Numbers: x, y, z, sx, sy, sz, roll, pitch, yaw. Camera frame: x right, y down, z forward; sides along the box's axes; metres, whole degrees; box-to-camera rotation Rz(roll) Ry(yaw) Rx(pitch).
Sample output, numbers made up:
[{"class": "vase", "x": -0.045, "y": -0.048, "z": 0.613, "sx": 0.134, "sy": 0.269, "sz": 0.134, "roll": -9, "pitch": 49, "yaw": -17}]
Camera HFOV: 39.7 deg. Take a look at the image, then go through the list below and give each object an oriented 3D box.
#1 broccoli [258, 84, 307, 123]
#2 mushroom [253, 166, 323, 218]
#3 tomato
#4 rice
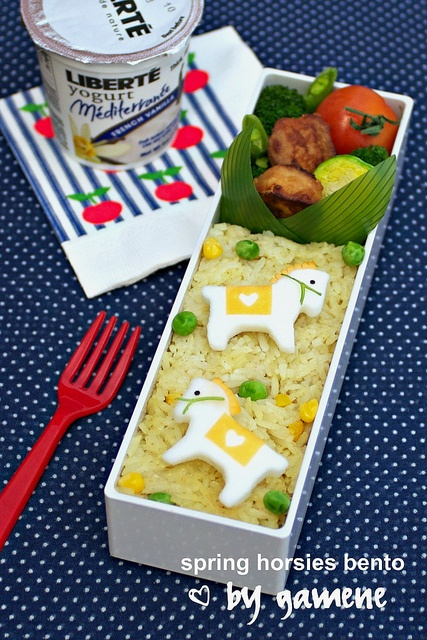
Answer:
[{"class": "broccoli", "x": 0.123, "y": -0.410, "z": 1.111, "sx": 0.099, "sy": 0.033, "sz": 0.082, "roll": -37, "pitch": 67, "yaw": -19}, {"class": "mushroom", "x": 0.118, "y": -0.208, "z": 0.925, "sx": 0.090, "sy": 0.081, "sz": 0.106, "roll": 17, "pitch": 31, "yaw": 19}, {"class": "tomato", "x": 0.257, "y": -0.366, "z": 1.069, "sx": 0.153, "sy": 0.085, "sz": 0.122, "roll": 14, "pitch": 61, "yaw": 10}, {"class": "rice", "x": 0.049, "y": 0.078, "z": 0.903, "sx": 0.262, "sy": 0.115, "sz": 0.459, "roll": 14, "pitch": 68, "yaw": 10}]
